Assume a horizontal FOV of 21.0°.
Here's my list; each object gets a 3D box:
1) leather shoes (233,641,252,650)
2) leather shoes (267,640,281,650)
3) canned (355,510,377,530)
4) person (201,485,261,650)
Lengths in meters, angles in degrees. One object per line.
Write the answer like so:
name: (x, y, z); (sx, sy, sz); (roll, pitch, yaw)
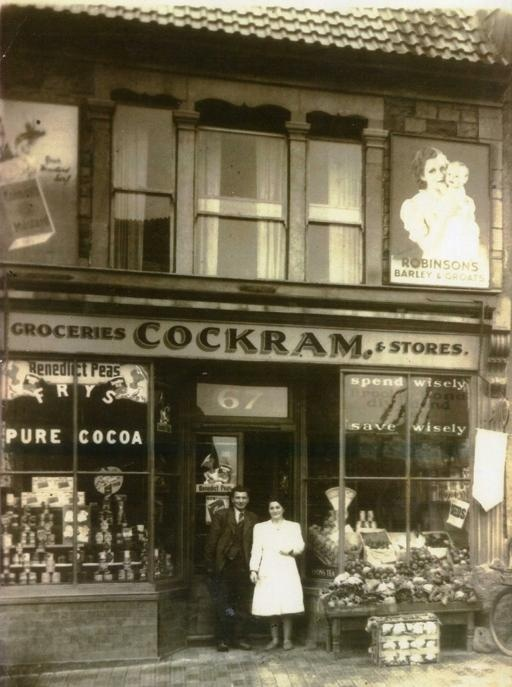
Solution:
leather shoes: (-0.142, 3.337, 15.339); (0.191, 0.127, 0.086); (-2, -3, 15)
leather shoes: (0.185, 3.344, 15.356); (0.122, 0.092, 0.275); (-3, -6, 24)
canned: (1.247, 1.994, 15.624); (0.179, 0.271, 0.093); (1, -16, -2)
person: (-0.258, 2.509, 15.451); (0.617, 1.775, 0.363); (2, -5, -20)
